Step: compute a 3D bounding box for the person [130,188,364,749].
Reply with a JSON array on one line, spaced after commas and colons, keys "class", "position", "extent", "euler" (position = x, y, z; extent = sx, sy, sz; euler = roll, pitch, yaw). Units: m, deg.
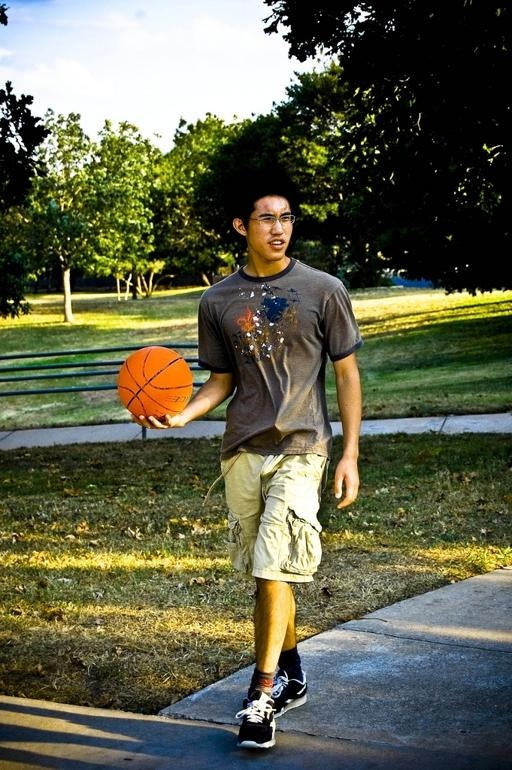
[{"class": "person", "position": [-0.019, 0.258, 3.240], "extent": [0.886, 1.919, 0.928], "euler": [0, -3, -2]}]

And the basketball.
[{"class": "basketball", "position": [-0.411, -0.015, 3.699], "extent": [0.322, 0.319, 0.298], "euler": [-2, 10, -15]}]

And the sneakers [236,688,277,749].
[{"class": "sneakers", "position": [0.000, 1.113, 2.986], "extent": [0.127, 0.167, 0.190], "euler": [-4, 4, -1]}]
